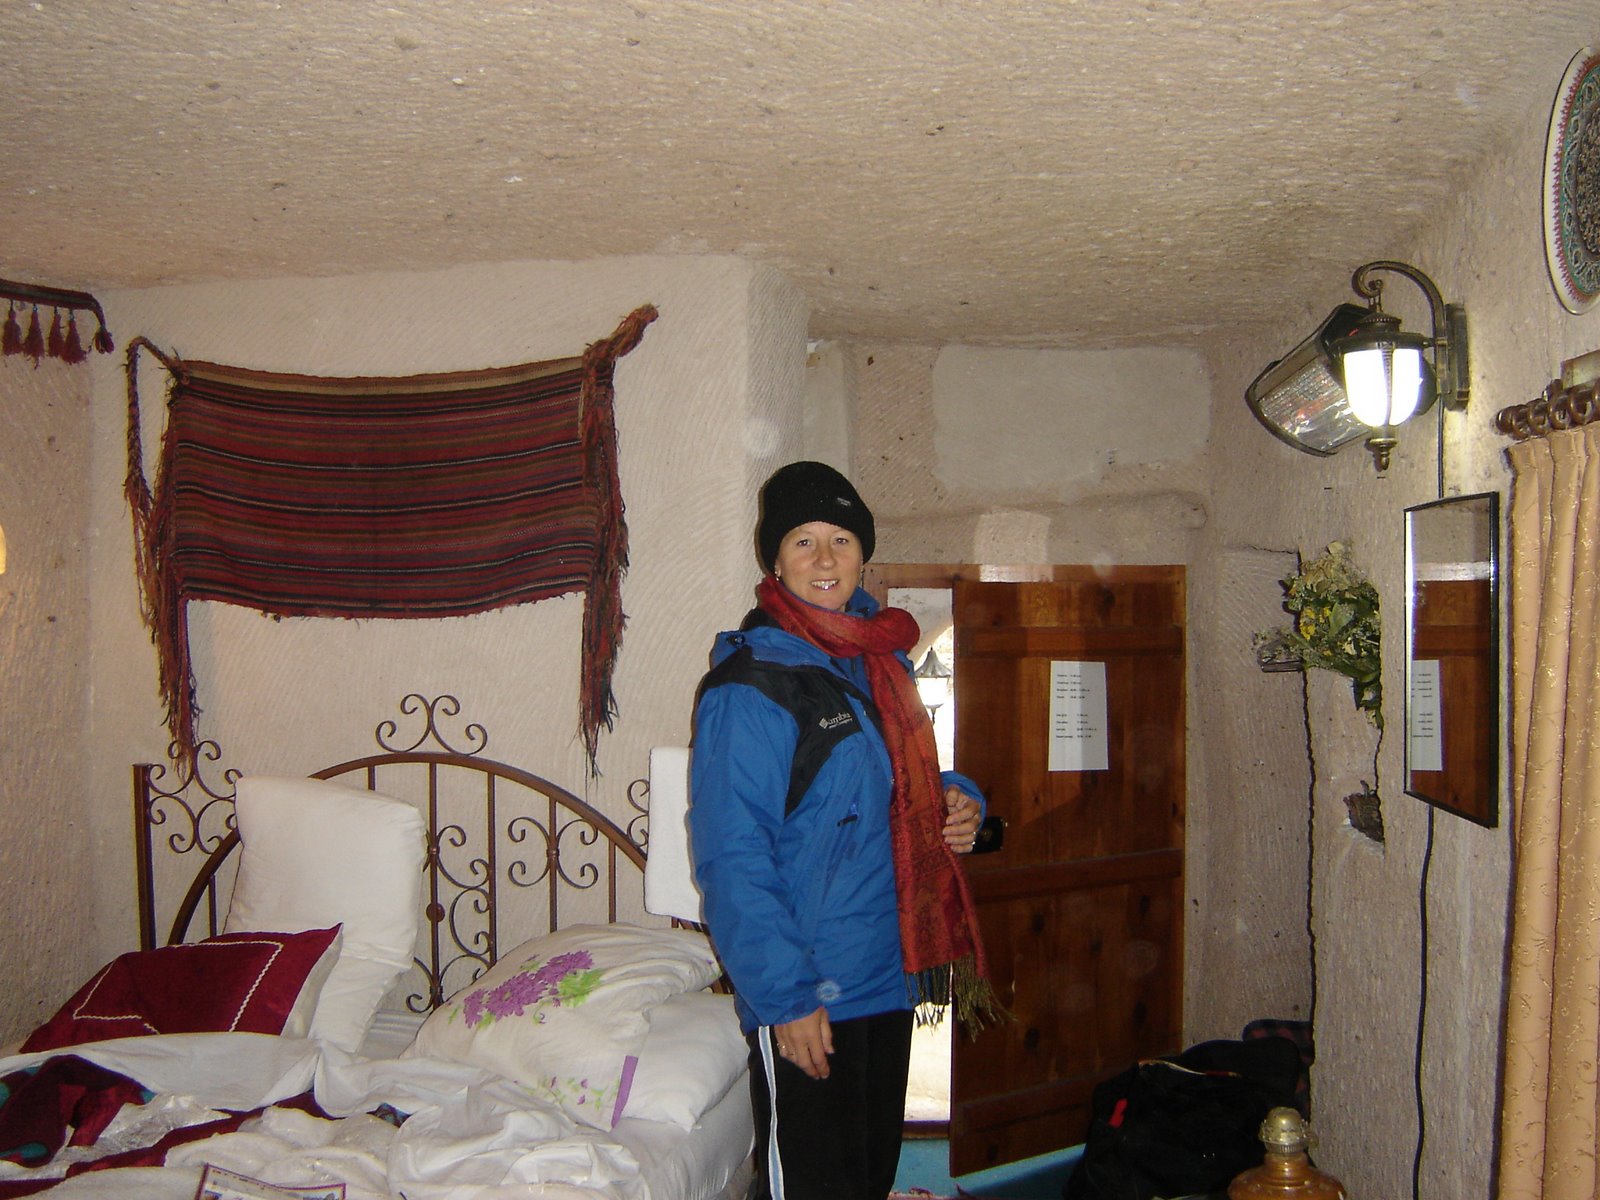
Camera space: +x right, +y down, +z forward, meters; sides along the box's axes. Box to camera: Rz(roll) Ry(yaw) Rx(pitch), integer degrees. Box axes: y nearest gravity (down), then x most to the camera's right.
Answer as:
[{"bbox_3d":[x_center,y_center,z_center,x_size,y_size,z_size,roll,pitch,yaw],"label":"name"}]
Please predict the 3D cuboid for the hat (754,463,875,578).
[{"bbox_3d":[0.025,-0.173,2.759,0.205,0.192,0.227,-7,-24,16],"label":"hat"}]

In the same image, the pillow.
[{"bbox_3d":[-0.694,0.736,3.159,0.972,0.605,0.649,-2,4,28],"label":"pillow"}]

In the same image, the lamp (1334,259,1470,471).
[{"bbox_3d":[1.250,-0.496,2.756,0.229,0.460,0.182,-1,-5,5],"label":"lamp"}]
